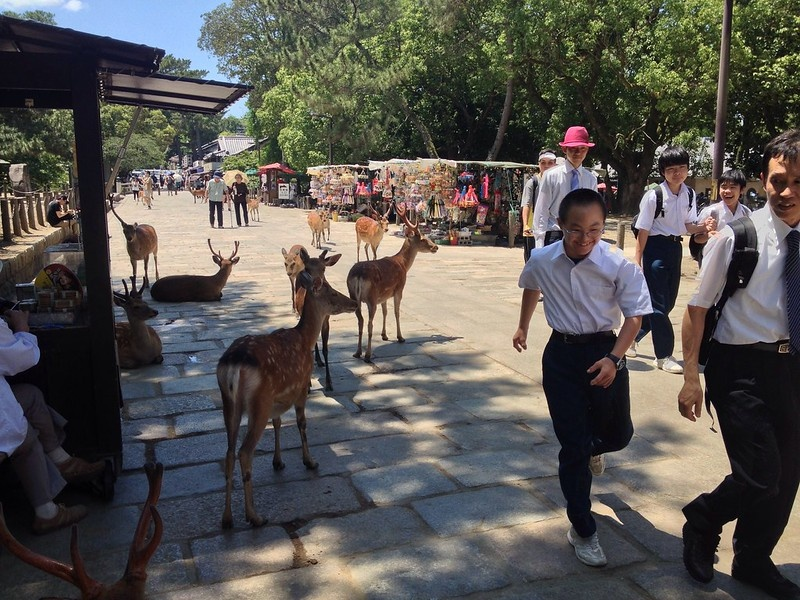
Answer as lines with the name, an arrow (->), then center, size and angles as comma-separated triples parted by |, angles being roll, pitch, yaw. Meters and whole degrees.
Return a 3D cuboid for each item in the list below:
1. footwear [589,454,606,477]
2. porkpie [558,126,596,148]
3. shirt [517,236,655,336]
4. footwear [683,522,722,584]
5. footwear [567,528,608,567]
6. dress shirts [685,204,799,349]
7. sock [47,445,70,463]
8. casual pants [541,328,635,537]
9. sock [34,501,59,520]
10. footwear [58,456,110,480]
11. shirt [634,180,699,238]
footwear -> 1.414, 1.185, 4.324 | 0.098, 0.109, 0.276 | -1, 41, 17
porkpie -> 2.016, -1.811, 6.934 | 0.326, 0.207, 0.404 | 1, 9, 12
shirt -> 1.148, -0.102, 3.818 | 0.872, 0.591, 0.353 | 8, 24, 36
footwear -> 1.769, 1.466, 3.622 | 0.134, 0.172, 0.403 | 1, 34, 6
footwear -> 1.149, 1.520, 3.702 | 0.106, 0.103, 0.254 | 2, 0, -19
dress shirts -> 1.915, -0.134, 3.380 | 0.488, 0.763, 0.290 | 7, 14, 28
sock -> -2.257, 1.038, 4.023 | 0.098, 0.092, 0.094 | -41, 9, 25
casual pants -> 1.111, 0.800, 3.782 | 0.496, 1.209, 0.447 | -10, 16, -40
sock -> -2.253, 1.352, 3.859 | 0.119, 0.120, 0.091 | -2, 7, -16
footwear -> -2.149, 1.143, 4.128 | 0.271, 0.116, 0.105 | 0, 4, -31
shirt -> 2.930, -1.000, 6.614 | 0.653, 0.614, 0.434 | -7, 18, -2
